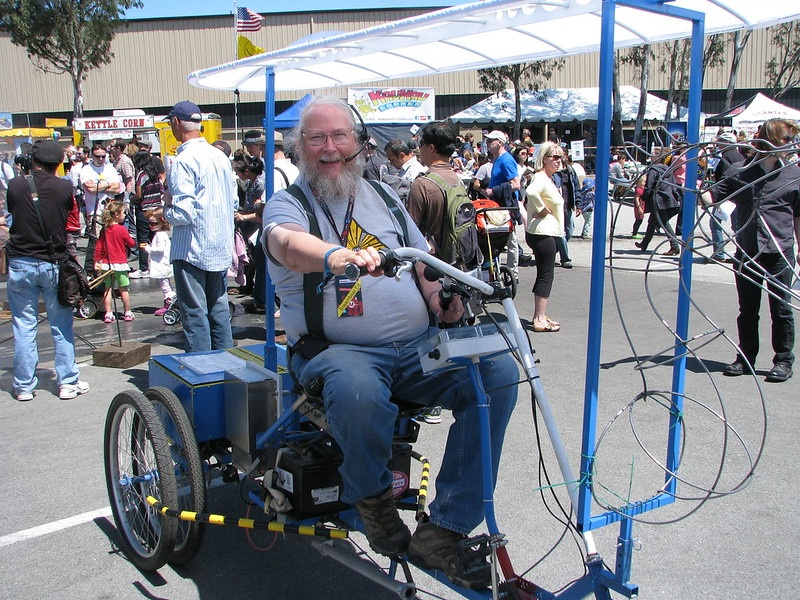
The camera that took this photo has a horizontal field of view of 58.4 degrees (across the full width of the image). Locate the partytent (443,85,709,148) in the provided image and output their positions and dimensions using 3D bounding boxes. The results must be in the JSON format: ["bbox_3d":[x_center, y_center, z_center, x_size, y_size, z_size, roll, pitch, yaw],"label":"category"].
[{"bbox_3d":[7.035,-7.737,32.320,5.399,1.623,10.620,13,0,-41],"label":"partytent"}]

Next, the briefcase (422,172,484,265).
[{"bbox_3d":[0.433,-0.687,5.968,0.442,0.789,0.499,-6,17,6],"label":"briefcase"}]

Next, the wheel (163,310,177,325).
[{"bbox_3d":[-2.783,0.206,8.654,0.134,0.137,0.081,28,13,6],"label":"wheel"}]

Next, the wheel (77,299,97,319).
[{"bbox_3d":[-3.825,0.105,8.750,0.208,0.238,0.091,-1,1,-14],"label":"wheel"}]

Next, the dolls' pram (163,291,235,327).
[{"bbox_3d":[-2.541,0.159,8.760,0.611,0.381,0.650,-2,6,-11],"label":"dolls' pram"}]

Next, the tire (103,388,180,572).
[{"bbox_3d":[-1.509,1.066,4.201,0.232,0.778,0.731,-3,27,-38],"label":"tire"}]
